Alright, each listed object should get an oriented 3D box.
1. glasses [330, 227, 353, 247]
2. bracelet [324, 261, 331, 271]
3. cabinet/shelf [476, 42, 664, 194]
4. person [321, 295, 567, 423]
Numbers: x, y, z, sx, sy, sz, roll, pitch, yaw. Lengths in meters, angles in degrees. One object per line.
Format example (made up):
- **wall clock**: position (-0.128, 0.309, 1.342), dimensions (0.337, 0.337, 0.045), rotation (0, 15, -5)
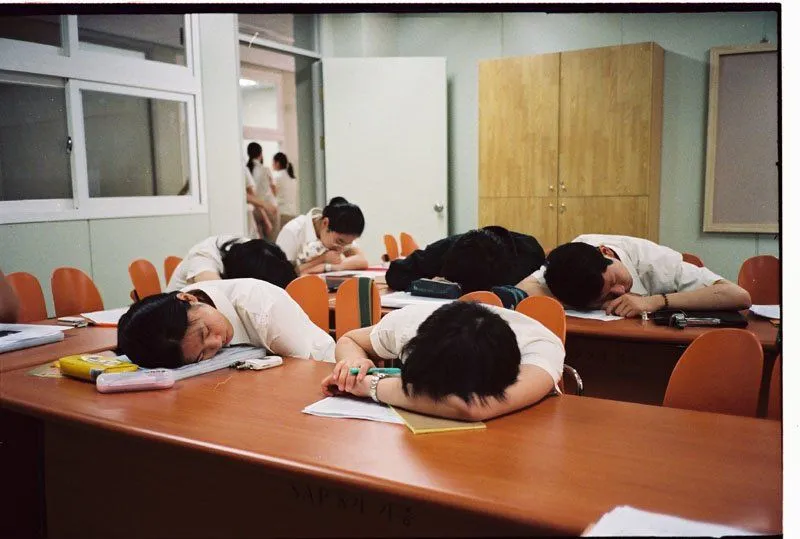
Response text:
- **glasses**: position (-0.313, -0.158, 3.059), dimensions (0.102, 0.074, 0.083), rotation (7, 8, 45)
- **bracelet**: position (-0.383, -0.016, 3.087), dimensions (0.053, 0.050, 0.028), rotation (0, -2, 14)
- **cabinet/shelf**: position (0.866, -0.682, 2.967), dimensions (0.915, 0.827, 0.310), rotation (11, 24, 38)
- **person**: position (0.124, 0.304, 2.094), dimensions (0.753, 0.342, 0.959), rotation (17, -3, -16)
